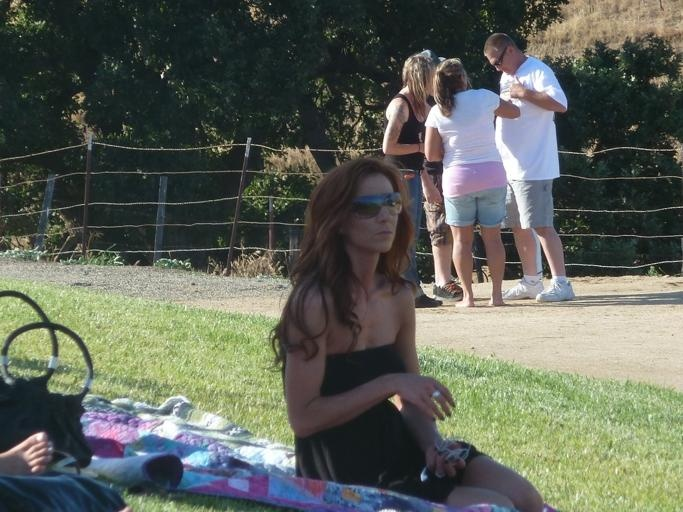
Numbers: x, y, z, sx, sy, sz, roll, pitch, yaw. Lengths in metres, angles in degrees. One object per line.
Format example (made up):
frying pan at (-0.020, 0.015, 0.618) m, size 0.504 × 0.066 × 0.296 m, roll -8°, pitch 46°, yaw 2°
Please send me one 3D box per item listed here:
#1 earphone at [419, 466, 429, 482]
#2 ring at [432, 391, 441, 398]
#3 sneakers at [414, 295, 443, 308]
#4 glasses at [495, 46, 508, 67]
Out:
earphone at (0.701, 1.844, 9.823) m, size 0.074 × 0.121 × 0.034 m, roll -1°, pitch -4°, yaw 3°
ring at (0.800, 1.168, 9.787) m, size 0.058 × 0.066 × 0.017 m, roll 0°, pitch 0°, yaw -5°
sneakers at (1.072, 0.558, 14.608) m, size 0.429 × 0.212 × 0.156 m, roll -1°, pitch 2°, yaw -14°
glasses at (1.967, -2.434, 14.303) m, size 0.045 × 0.187 × 0.160 m, roll 9°, pitch -6°, yaw -15°
